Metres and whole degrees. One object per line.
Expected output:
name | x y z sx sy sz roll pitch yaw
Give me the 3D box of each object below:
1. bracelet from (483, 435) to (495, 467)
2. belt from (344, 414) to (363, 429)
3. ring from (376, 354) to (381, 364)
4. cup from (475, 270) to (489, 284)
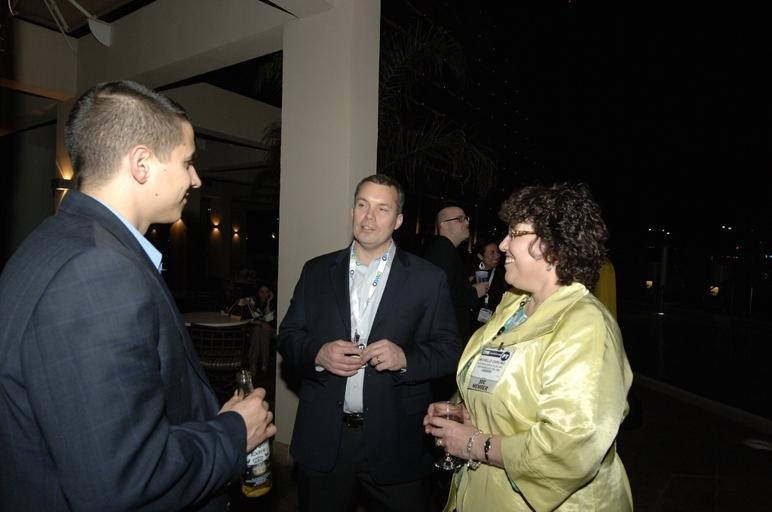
bracelet | 0.478 0.914 2.359 0.041 0.118 0.029 4 4 25
belt | -0.193 0.944 2.862 0.109 0.083 0.023 2 4 -1
ring | -0.038 0.569 2.747 0.009 0.030 0.029 7 0 -30
cup | 0.943 0.217 4.986 0.115 0.115 0.107 1 4 0
